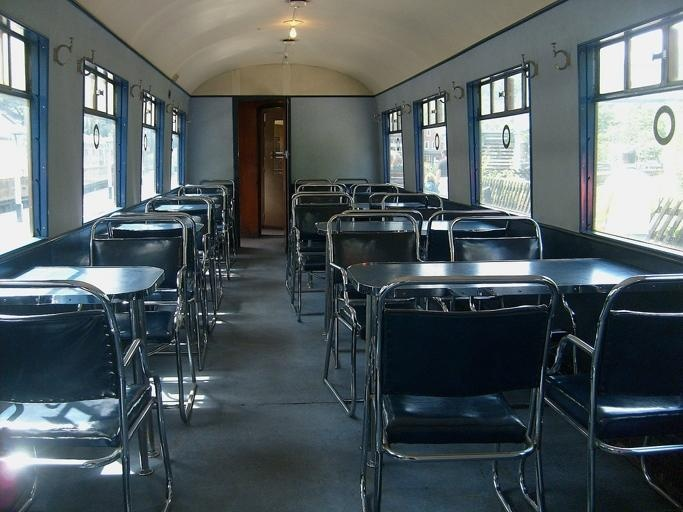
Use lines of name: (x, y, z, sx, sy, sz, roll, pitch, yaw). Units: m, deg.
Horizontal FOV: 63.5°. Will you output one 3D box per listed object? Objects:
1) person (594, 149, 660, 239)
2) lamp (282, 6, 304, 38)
person: (2.160, -0.474, 4.141, 0.348, 0.915, 0.272, 24, 60, 30)
lamp: (-0.726, -3.490, 8.228, 0.323, 0.612, 0.333, 0, 23, -6)
